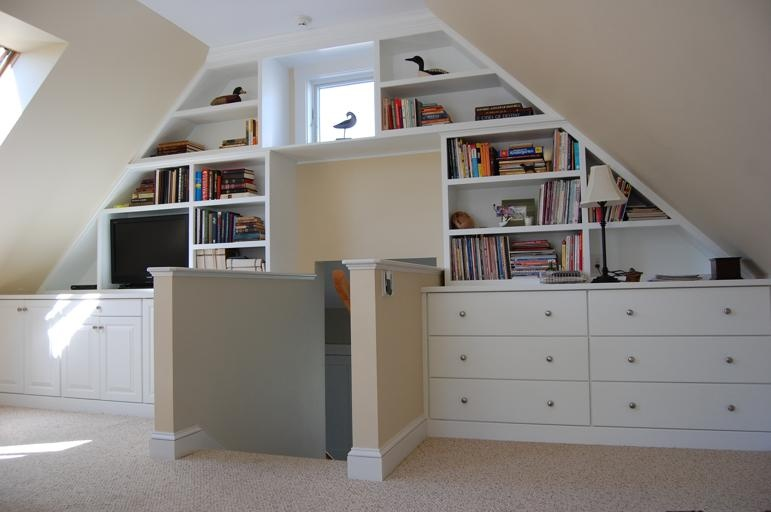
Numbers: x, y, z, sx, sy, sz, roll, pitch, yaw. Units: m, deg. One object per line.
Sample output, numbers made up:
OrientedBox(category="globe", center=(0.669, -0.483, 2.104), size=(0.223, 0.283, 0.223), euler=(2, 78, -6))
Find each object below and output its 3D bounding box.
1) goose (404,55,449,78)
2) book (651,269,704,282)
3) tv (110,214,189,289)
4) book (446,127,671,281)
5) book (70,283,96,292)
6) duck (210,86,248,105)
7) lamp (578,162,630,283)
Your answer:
OrientedBox(category="goose", center=(0.322, -1.599, 4.807), size=(0.517, 0.225, 0.150), euler=(1, 7, 4))
OrientedBox(category="book", center=(2.103, 0.149, 4.114), size=(0.318, 0.040, 0.749), euler=(2, 6, 29))
OrientedBox(category="tv", center=(-2.203, -0.053, 5.419), size=(0.909, 0.660, 0.149), euler=(-4, -5, 17))
OrientedBox(category="book", center=(1.362, -0.385, 4.391), size=(1.191, 0.966, 0.343), euler=(-2, -5, 16))
OrientedBox(category="book", center=(-2.911, 0.299, 5.531), size=(0.204, 0.046, 0.187), euler=(0, -1, -37))
OrientedBox(category="duck", center=(-1.455, -1.483, 5.317), size=(0.307, 0.177, 0.182), euler=(3, 30, -9))
OrientedBox(category="lamp", center=(1.591, -0.248, 4.188), size=(0.308, 0.827, 0.588), euler=(1, 5, 20))
